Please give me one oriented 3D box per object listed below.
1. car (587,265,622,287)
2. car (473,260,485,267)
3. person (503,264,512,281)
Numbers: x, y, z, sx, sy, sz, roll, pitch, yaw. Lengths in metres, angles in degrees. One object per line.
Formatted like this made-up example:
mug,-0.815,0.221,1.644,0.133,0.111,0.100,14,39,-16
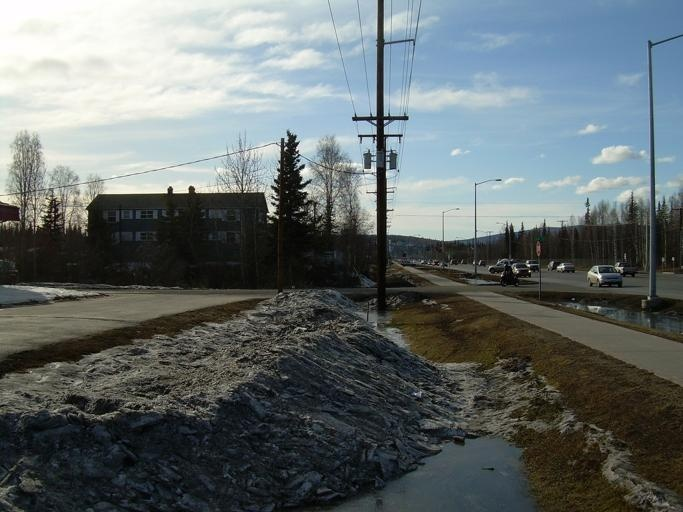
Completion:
car,18.402,1.401,43.748,1.305,1.068,2.590,-1,-6,4
car,28.451,1.477,129.501,1.405,1.084,2.284,3,10,17
person,12.241,1.299,46.088,0.324,1.134,0.673,3,3,-2
